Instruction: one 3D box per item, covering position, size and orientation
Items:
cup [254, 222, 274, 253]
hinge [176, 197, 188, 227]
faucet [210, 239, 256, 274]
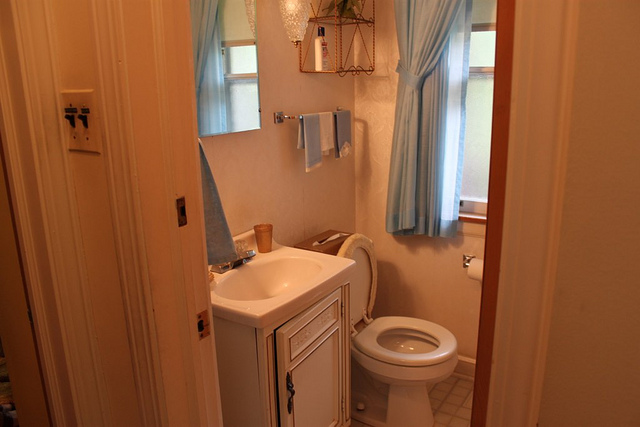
[{"bbox_3d":[-0.268,0.112,2.324,0.108,0.133,0.112,-1,17,0],"label":"cup"},{"bbox_3d":[-0.369,-0.003,1.321,0.004,0.076,0.029,14,24,43],"label":"hinge"},{"bbox_3d":[-0.357,0.192,2.139,0.160,0.130,0.178,6,18,13],"label":"faucet"}]
